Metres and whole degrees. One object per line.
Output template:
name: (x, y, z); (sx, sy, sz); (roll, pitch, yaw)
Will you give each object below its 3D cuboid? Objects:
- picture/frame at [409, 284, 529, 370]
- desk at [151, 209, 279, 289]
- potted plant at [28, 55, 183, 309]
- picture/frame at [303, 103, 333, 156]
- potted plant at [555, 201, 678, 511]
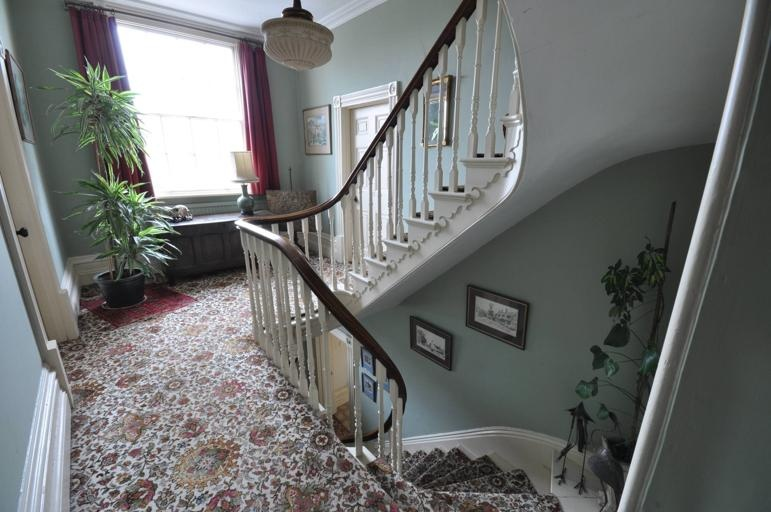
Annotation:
picture/frame: (0.826, 0.647, 4.289); (0.030, 0.867, 0.690); (-11, 23, -40)
desk: (-2.157, -0.160, 5.470); (0.578, 0.649, 1.073); (21, 23, 36)
potted plant: (-2.724, -0.777, 4.651); (0.948, 2.394, 1.570); (-11, 17, -33)
picture/frame: (-0.862, -1.670, 5.952); (0.027, 0.650, 0.684); (-15, 22, -37)
potted plant: (1.624, 0.725, 3.284); (0.592, 2.194, 0.842); (8, 17, 32)
